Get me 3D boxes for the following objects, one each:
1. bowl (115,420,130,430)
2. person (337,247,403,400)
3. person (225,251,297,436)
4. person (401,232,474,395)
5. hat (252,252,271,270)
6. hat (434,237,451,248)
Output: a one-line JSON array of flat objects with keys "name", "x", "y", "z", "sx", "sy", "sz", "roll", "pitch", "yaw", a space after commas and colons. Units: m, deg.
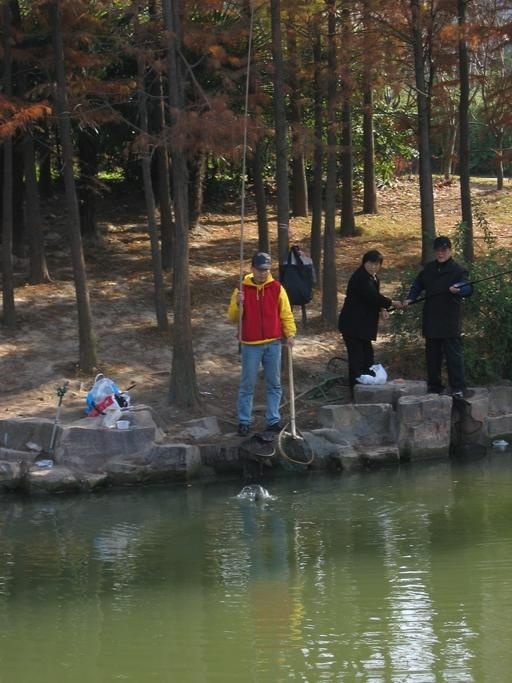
[{"name": "bowl", "x": -1.269, "y": 0.807, "z": 10.736, "sx": 0.103, "sy": 0.065, "sz": 0.074, "roll": -2, "pitch": 6, "yaw": 9}, {"name": "person", "x": 1.188, "y": -0.166, "z": 11.900, "sx": 0.599, "sy": 1.590, "sz": 0.467, "roll": -3, "pitch": 14, "yaw": 1}, {"name": "person", "x": 0.075, "y": 0.061, "z": 10.831, "sx": 0.614, "sy": 1.809, "sz": 0.424, "roll": -3, "pitch": 14, "yaw": 0}, {"name": "person", "x": 1.930, "y": -0.251, "z": 11.621, "sx": 0.773, "sy": 1.646, "sz": 0.545, "roll": 4, "pitch": 16, "yaw": 27}, {"name": "hat", "x": 0.068, "y": -0.738, "z": 10.619, "sx": 0.137, "sy": 0.101, "sz": 0.194, "roll": 2, "pitch": 10, "yaw": -10}, {"name": "hat", "x": 1.898, "y": -0.996, "z": 11.407, "sx": 0.121, "sy": 0.077, "sz": 0.157, "roll": -3, "pitch": 0, "yaw": 16}]
